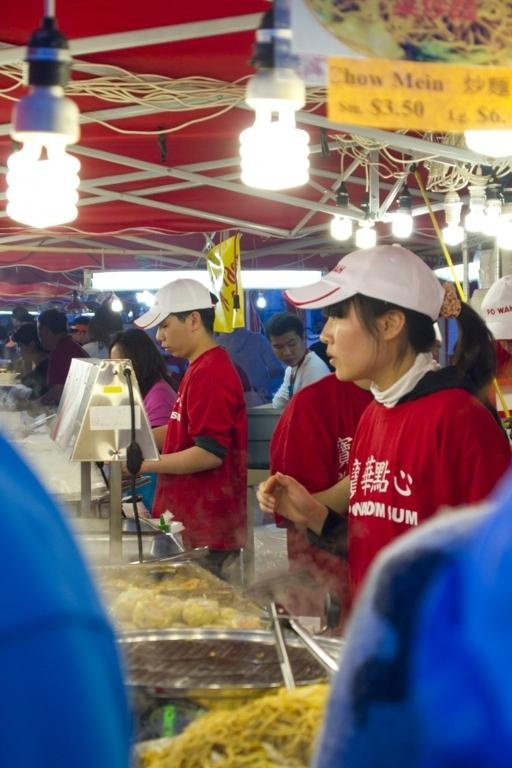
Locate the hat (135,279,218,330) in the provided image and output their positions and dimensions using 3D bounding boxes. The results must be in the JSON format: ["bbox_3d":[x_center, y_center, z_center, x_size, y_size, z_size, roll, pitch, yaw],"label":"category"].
[{"bbox_3d":[-0.422,-0.429,3.412,0.388,0.185,0.235,-7,6,-12],"label":"hat"}]

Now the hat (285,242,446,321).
[{"bbox_3d":[0.323,-0.262,1.827,0.355,0.165,0.218,12,4,12],"label":"hat"}]
